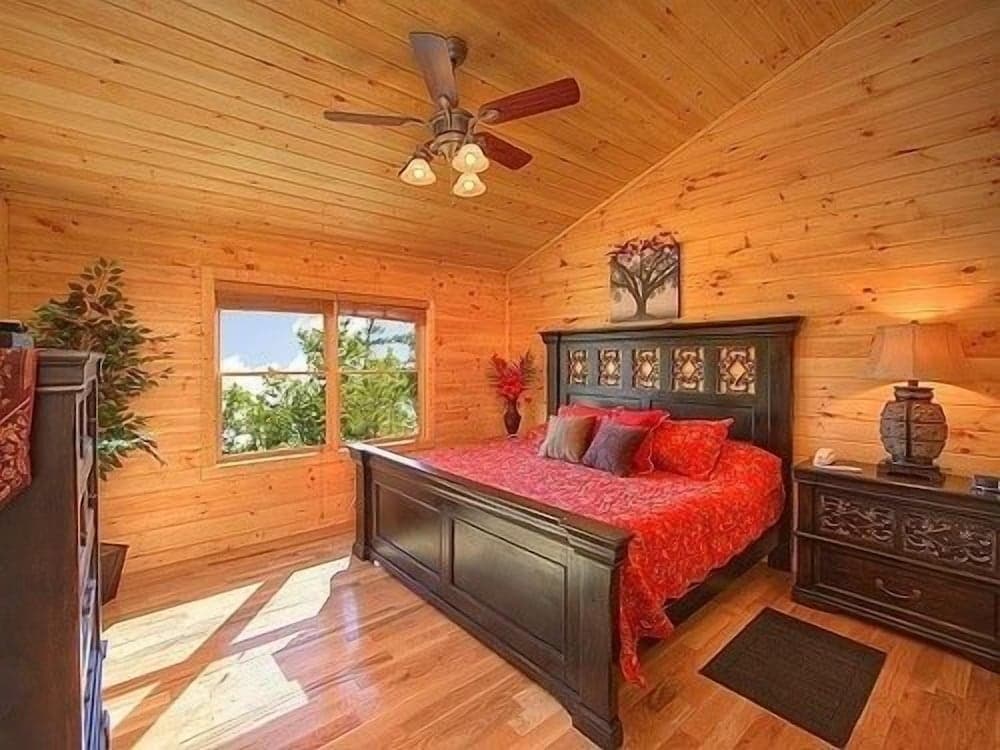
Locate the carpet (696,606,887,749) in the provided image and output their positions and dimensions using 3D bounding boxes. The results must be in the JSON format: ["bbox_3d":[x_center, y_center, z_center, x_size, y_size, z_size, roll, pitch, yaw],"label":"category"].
[{"bbox_3d":[1.701,1.687,3.861,0.750,0.342,0.850,1,1,40],"label":"carpet"}]

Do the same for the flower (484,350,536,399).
[{"bbox_3d":[0.174,-0.012,6.883,0.561,0.372,0.512,9,8,34],"label":"flower"}]

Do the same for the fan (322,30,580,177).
[{"bbox_3d":[-0.337,-1.449,3.775,1.345,0.516,1.141,2,-24,-7],"label":"fan"}]
